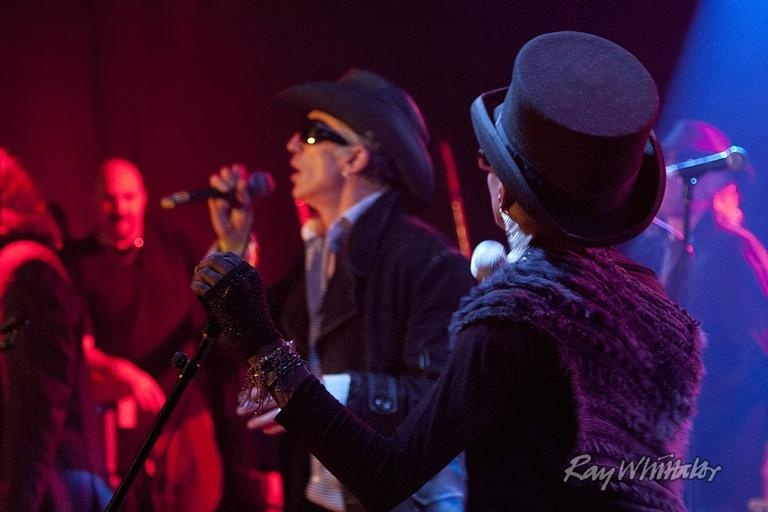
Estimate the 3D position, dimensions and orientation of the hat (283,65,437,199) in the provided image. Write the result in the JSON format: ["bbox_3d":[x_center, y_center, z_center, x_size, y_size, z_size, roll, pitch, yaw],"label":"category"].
[{"bbox_3d":[-0.059,-0.571,3.958,0.623,0.230,0.533,43,-18,-10],"label":"hat"}]

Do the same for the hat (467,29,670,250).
[{"bbox_3d":[0.699,-0.501,3.102,0.699,0.931,0.447,-2,-40,-11],"label":"hat"}]

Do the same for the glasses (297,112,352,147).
[{"bbox_3d":[-0.292,-0.562,3.929,0.165,0.059,0.157,26,-5,-11],"label":"glasses"}]

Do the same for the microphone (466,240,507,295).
[{"bbox_3d":[0.447,0.042,3.683,0.164,0.277,0.184,9,8,1],"label":"microphone"}]

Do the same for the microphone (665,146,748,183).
[{"bbox_3d":[1.541,-0.438,3.962,0.330,0.137,0.092,-22,31,11],"label":"microphone"}]
